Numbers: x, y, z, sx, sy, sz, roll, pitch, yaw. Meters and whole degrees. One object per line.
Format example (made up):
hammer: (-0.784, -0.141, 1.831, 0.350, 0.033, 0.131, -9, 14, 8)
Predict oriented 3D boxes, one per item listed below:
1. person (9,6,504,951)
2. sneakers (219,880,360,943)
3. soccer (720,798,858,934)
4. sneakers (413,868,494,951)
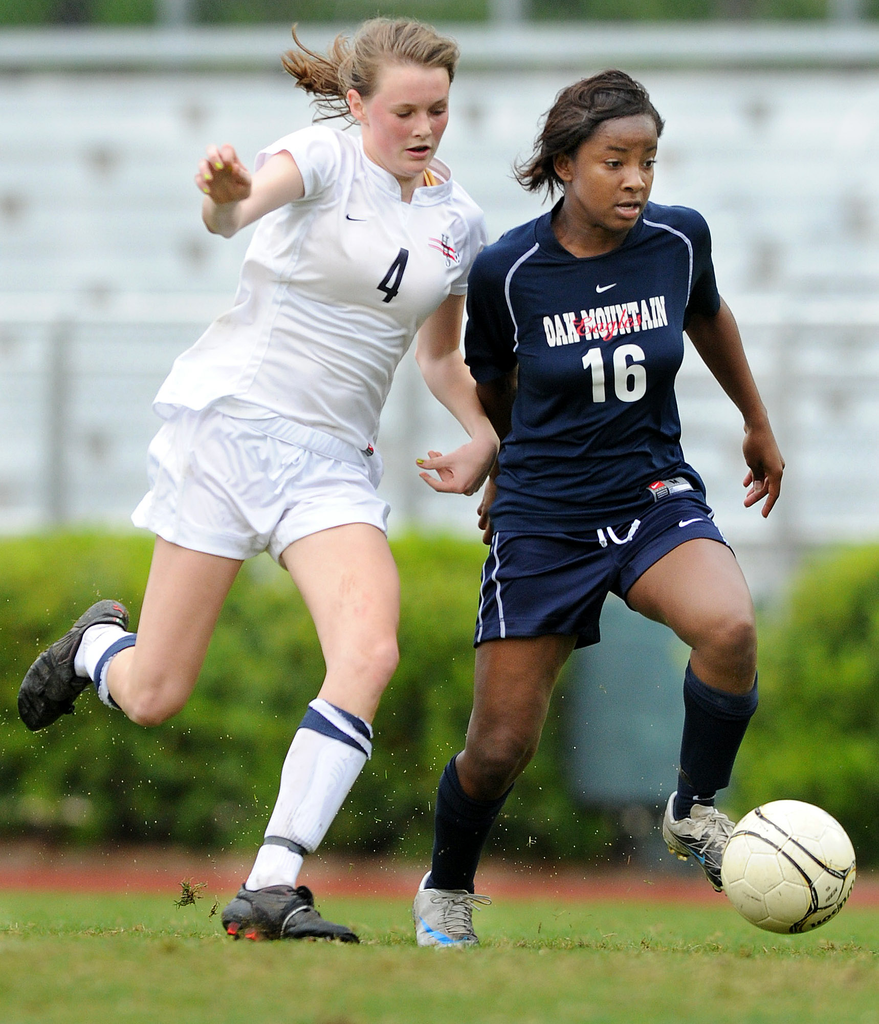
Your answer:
person: (-0.349, -0.195, 3.948, 1.132, 2.332, 1.481, 1, 12, -17)
sneakers: (-0.320, 0.945, 3.541, 0.380, 0.135, 0.122, 3, -14, 13)
soccer: (0.896, 0.942, 3.915, 0.356, 0.302, 0.319, 2, 7, 10)
sneakers: (0.033, 1.136, 4.394, 0.247, 0.183, 0.582, -1, 3, 1)
